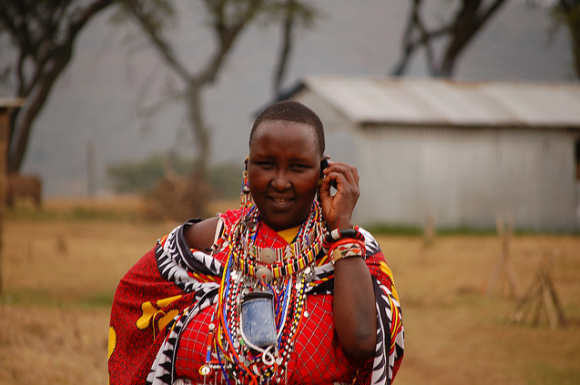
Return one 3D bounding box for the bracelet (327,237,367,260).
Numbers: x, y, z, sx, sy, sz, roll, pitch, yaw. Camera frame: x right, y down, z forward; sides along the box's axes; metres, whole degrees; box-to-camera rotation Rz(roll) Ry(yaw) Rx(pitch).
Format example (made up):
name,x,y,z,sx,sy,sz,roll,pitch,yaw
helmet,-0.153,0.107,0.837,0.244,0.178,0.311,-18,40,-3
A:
name,x,y,z,sx,sy,sz,roll,pitch,yaw
bracelet,0.425,0.409,7.808,0.168,0.117,0.173,-12,-31,14
